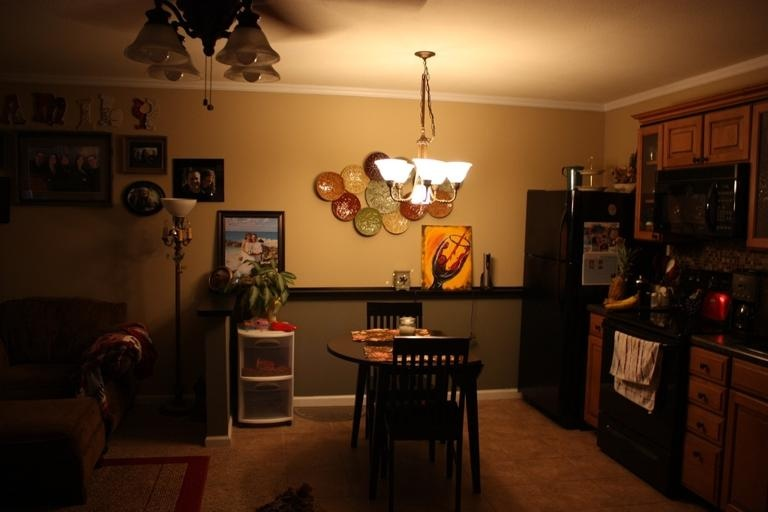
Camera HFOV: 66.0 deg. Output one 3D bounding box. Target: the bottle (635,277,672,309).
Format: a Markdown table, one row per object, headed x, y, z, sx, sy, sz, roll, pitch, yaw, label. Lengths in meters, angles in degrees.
| x | y | z | sx | sy | sz | roll | pitch | yaw | label |
| --- | --- | --- | --- | --- | --- | --- | --- | --- | --- |
| 2.583 | 0.361 | 5.691 | 0.299 | 0.301 | 0.280 | -2 | 5 | -17 | bottle |

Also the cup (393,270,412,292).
| x | y | z | sx | sy | sz | roll | pitch | yaw | label |
| --- | --- | --- | --- | --- | --- | --- | --- | --- | --- |
| 0.188 | 0.272 | 6.407 | 0.237 | 0.246 | 0.180 | 1 | -2 | -6 | cup |

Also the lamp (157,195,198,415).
| x | y | z | sx | sy | sz | roll | pitch | yaw | label |
| --- | --- | --- | --- | --- | --- | --- | --- | --- | --- |
| -2.090 | 0.479 | 6.054 | 0.411 | 2.124 | 0.732 | -3 | 14 | -17 | lamp |

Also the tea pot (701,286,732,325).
| x | y | z | sx | sy | sz | roll | pitch | yaw | label |
| --- | --- | --- | --- | --- | --- | --- | --- | --- | --- |
| 3.017 | 0.461 | 5.366 | 0.144 | 0.279 | 0.273 | -9 | 17 | -36 | tea pot |

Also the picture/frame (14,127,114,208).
| x | y | z | sx | sy | sz | roll | pitch | yaw | label |
| --- | --- | --- | --- | --- | --- | --- | --- | --- | --- |
| -3.324 | -0.895 | 6.039 | 0.777 | 0.687 | 0.066 | 0 | -1 | -7 | picture/frame |

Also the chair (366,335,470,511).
| x | y | z | sx | sy | sz | roll | pitch | yaw | label |
| --- | --- | --- | --- | --- | --- | --- | --- | --- | --- |
| 0.261 | 1.290 | 4.657 | 0.735 | 1.369 | 0.545 | 3 | 13 | 6 | chair |

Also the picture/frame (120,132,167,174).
| x | y | z | sx | sy | sz | roll | pitch | yaw | label |
| --- | --- | --- | --- | --- | --- | --- | --- | --- | --- |
| -2.517 | -1.056 | 6.113 | 0.400 | 0.366 | 0.042 | 0 | 2 | -5 | picture/frame |

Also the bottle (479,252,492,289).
| x | y | z | sx | sy | sz | roll | pitch | yaw | label |
| --- | --- | --- | --- | --- | --- | --- | --- | --- | --- |
| 1.149 | 0.167 | 6.576 | 0.156 | 0.366 | 0.158 | 1 | 13 | 0 | bottle |

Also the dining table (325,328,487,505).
| x | y | z | sx | sy | sz | roll | pitch | yaw | label |
| --- | --- | --- | --- | --- | --- | --- | --- | --- | --- |
| 0.281 | 1.331 | 5.248 | 1.121 | 0.894 | 1.394 | 0 | -3 | -3 | dining table |

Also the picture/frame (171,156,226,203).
| x | y | z | sx | sy | sz | roll | pitch | yaw | label |
| --- | --- | --- | --- | --- | --- | --- | --- | --- | --- |
| -1.963 | -0.792 | 6.149 | 0.482 | 0.485 | 0.036 | 1 | 1 | -7 | picture/frame |

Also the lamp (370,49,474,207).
| x | y | z | sx | sy | sz | roll | pitch | yaw | label |
| --- | --- | --- | --- | --- | --- | --- | --- | --- | --- |
| 0.324 | -1.297 | 5.842 | 1.177 | 1.760 | 1.125 | 1 | -4 | -9 | lamp |

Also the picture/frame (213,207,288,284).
| x | y | z | sx | sy | sz | roll | pitch | yaw | label |
| --- | --- | --- | --- | --- | --- | --- | --- | --- | --- |
| -1.442 | -0.107 | 6.182 | 0.727 | 0.844 | 0.043 | 2 | 1 | -10 | picture/frame |

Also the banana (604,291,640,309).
| x | y | z | sx | sy | sz | roll | pitch | yaw | label |
| --- | --- | --- | --- | --- | --- | --- | --- | --- | --- |
| 2.268 | 0.462 | 5.655 | 0.177 | 0.135 | 0.399 | 16 | -20 | -38 | banana |

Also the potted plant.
| x | y | z | sx | sy | sz | roll | pitch | yaw | label |
| --- | --- | --- | --- | --- | --- | --- | --- | --- | --- |
| -1.215 | 0.366 | 5.891 | 0.580 | 0.633 | 0.632 | 1 | -4 | -8 | potted plant |

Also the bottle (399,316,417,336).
| x | y | z | sx | sy | sz | roll | pitch | yaw | label |
| --- | --- | --- | --- | --- | --- | --- | --- | --- | --- |
| 0.222 | 0.636 | 5.345 | 0.138 | 0.166 | 0.144 | 2 | 1 | 19 | bottle |

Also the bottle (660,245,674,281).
| x | y | z | sx | sy | sz | roll | pitch | yaw | label |
| --- | --- | --- | --- | --- | --- | --- | --- | --- | --- |
| 2.841 | 0.080 | 5.902 | 0.074 | 0.339 | 0.179 | -4 | 14 | -20 | bottle |

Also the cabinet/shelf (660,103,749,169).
| x | y | z | sx | sy | sz | roll | pitch | yaw | label |
| --- | --- | --- | --- | --- | --- | --- | --- | --- | --- |
| 2.856 | -1.047 | 5.212 | 0.196 | 0.395 | 0.662 | 3 | -1 | -23 | cabinet/shelf |
